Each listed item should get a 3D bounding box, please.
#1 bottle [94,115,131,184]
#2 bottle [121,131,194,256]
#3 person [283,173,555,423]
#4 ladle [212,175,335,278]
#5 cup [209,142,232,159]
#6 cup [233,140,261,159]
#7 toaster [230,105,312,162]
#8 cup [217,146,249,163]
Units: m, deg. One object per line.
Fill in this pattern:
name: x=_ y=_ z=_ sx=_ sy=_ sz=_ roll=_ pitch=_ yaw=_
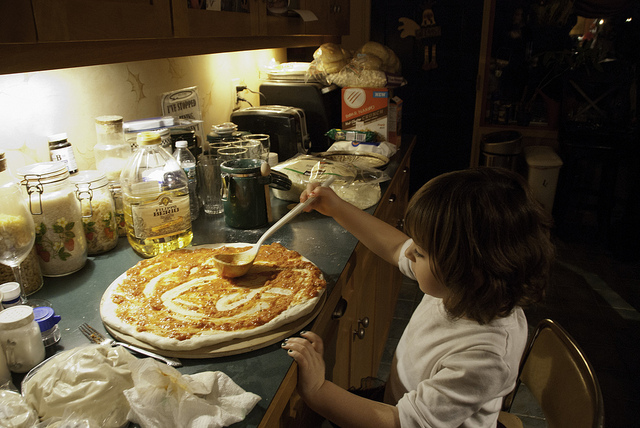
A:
bottle: x=-0.786 y=-0.231 z=1.671 sx=0.138 sy=0.251 sz=0.136 roll=2 pitch=18 yaw=-1
bottle: x=-0.594 y=-0.073 z=1.582 sx=0.262 sy=0.433 sz=0.227 roll=-15 pitch=25 yaw=-42
person: x=0.316 y=0.305 z=1.307 sx=0.628 sy=0.861 sz=0.641 roll=7 pitch=24 yaw=24
ladle: x=-0.091 y=0.019 z=1.475 sx=0.556 sy=0.109 sz=0.106 roll=-35 pitch=24 yaw=-18
cup: x=-0.419 y=-0.286 z=1.905 sx=0.085 sy=0.085 sz=0.074 roll=4 pitch=25 yaw=6
cup: x=-0.316 y=-0.287 z=1.909 sx=0.091 sy=0.087 sz=0.080 roll=3 pitch=23 yaw=7
toaster: x=-0.271 y=-0.426 z=2.375 sx=0.408 sy=0.270 sz=0.152 roll=0 pitch=22 yaw=9
cup: x=-0.363 y=-0.252 z=1.842 sx=0.124 sy=0.056 sz=0.102 roll=-4 pitch=21 yaw=-3
